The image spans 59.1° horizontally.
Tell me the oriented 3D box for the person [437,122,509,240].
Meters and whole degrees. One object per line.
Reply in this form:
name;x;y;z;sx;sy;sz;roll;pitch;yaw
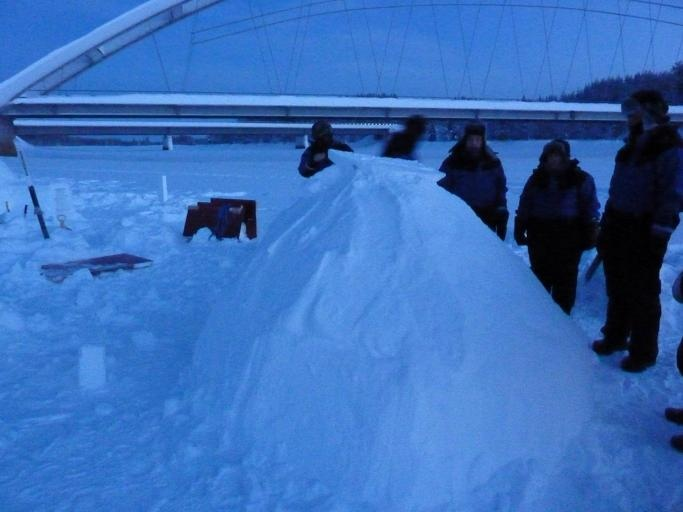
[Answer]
person;1.067;-0.613;4.867;0.569;0.880;0.356;4;15;12

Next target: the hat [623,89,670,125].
hat;1.932;-0.949;3.819;0.284;0.213;0.182;8;17;24

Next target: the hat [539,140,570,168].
hat;1.602;-0.773;4.512;0.182;0.249;0.234;0;-19;12

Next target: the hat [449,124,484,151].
hat;1.049;-0.950;4.912;0.212;0.258;0.241;-3;11;-35

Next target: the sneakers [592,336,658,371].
sneakers;1.809;0.626;3.832;0.073;0.158;0.215;-31;49;-22
